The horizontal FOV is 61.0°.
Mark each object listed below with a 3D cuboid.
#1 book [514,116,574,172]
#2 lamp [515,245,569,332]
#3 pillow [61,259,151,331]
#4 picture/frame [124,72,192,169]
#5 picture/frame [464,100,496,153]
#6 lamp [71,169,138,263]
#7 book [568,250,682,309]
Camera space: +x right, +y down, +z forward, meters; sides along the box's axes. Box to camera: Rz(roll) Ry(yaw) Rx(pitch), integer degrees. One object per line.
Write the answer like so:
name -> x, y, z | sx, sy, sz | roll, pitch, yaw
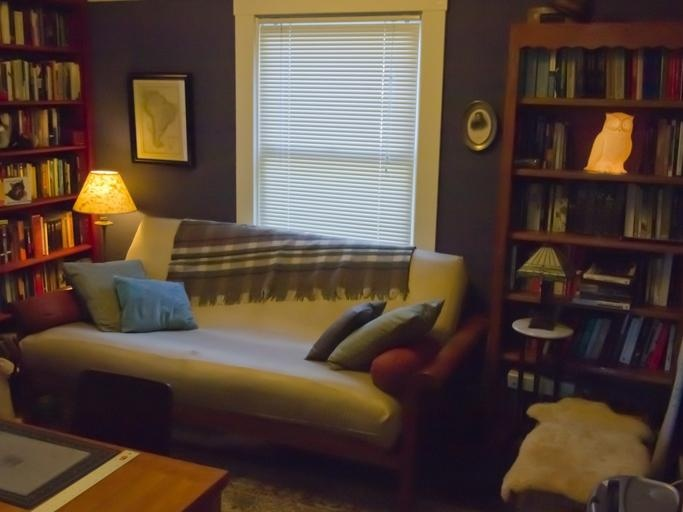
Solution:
book -> 1.172, -0.637, 3.341 | 0.274, 0.385, 0.370 | 5, 8, 23
lamp -> 1.158, 0.168, 3.299 | 0.248, 0.475, 0.372 | 11, 16, 34
pillow -> -1.534, 0.218, 3.695 | 0.437, 0.437, 0.130 | -5, -26, -18
picture/frame -> -1.393, -1.065, 4.457 | 0.646, 0.740, 0.056 | 8, 18, 25
picture/frame -> 0.886, -0.830, 3.675 | 0.300, 0.397, 0.043 | 2, 10, 19
lamp -> -1.860, -0.261, 4.532 | 0.431, 0.814, 0.436 | -2, 23, -27
book -> 1.582, 0.111, 3.238 | 0.386, 0.138, 0.318 | 5, 16, 38
